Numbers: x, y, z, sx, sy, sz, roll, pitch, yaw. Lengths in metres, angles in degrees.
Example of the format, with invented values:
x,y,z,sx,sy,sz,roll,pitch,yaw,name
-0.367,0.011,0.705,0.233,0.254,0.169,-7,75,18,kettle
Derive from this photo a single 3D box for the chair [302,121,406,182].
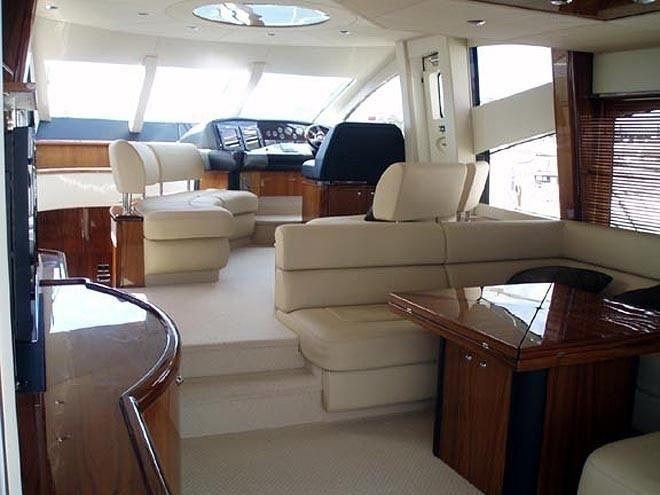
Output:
x,y,z,sx,sy,sz,roll,pitch,yaw,name
0.286,-0.909,4.885,0.795,0.507,0.614,-3,16,-21,chair

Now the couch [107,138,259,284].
x,y,z,sx,sy,sz,roll,pitch,yaw,name
-1.236,-0.375,4.382,1.138,1.044,1.487,0,12,-10,couch
